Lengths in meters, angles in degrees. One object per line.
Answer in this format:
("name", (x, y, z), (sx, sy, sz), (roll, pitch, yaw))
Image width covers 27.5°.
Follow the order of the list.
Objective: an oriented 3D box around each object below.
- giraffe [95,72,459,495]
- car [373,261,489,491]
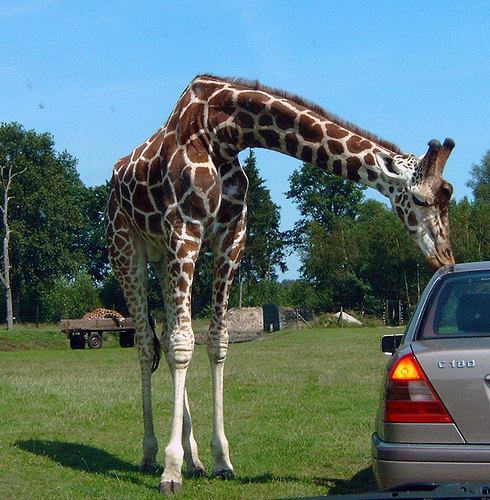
("giraffe", (0.167, 0.112, 10.333), (4.151, 4.115, 2.147), (-9, -2, 22))
("car", (1.652, 1.063, 8.453), (0.957, 1.775, 1.271), (-8, -1, 32))
